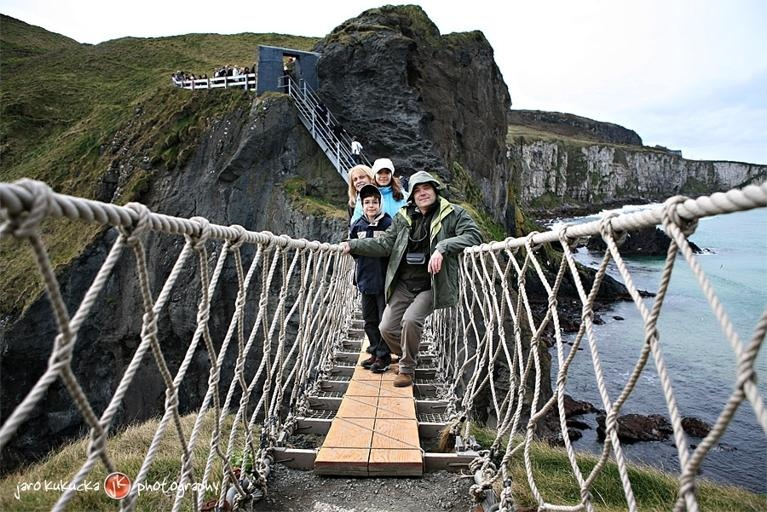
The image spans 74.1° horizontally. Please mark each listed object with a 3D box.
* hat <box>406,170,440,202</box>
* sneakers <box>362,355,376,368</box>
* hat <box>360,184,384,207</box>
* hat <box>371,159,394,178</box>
[{"bbox_3d":[0.422,-0.758,5.371,0.248,0.258,0.343,-5,5,8],"label":"hat"},{"bbox_3d":[-0.171,1.197,5.684,0.167,0.070,0.076,17,-21,-39],"label":"sneakers"},{"bbox_3d":[-0.138,-0.681,5.750,0.210,0.293,0.116,-2,9,0],"label":"hat"},{"bbox_3d":[0.006,-1.086,6.283,0.214,0.158,0.297,0,7,5],"label":"hat"}]
